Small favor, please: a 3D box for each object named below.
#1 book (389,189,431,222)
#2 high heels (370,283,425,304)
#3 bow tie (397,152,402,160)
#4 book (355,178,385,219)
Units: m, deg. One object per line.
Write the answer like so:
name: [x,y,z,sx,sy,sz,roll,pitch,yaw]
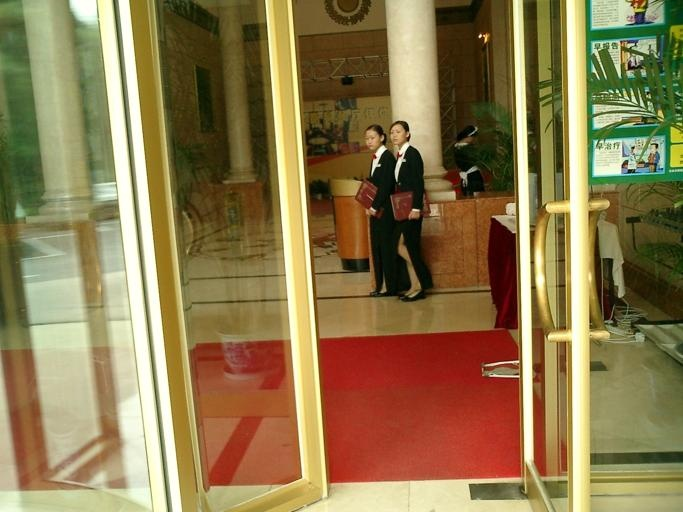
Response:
book: [0.598,-0.443,5.472,0.336,0.255,0.194,-7,12,-8]
high heels: [0.515,0.344,5.755,0.500,0.193,0.164,6,3,14]
bow tie: [0.499,-0.877,5.473,0.031,0.056,0.123,-7,12,-8]
book: [0.220,-0.523,5.654,0.302,0.293,0.097,31,-21,-19]
